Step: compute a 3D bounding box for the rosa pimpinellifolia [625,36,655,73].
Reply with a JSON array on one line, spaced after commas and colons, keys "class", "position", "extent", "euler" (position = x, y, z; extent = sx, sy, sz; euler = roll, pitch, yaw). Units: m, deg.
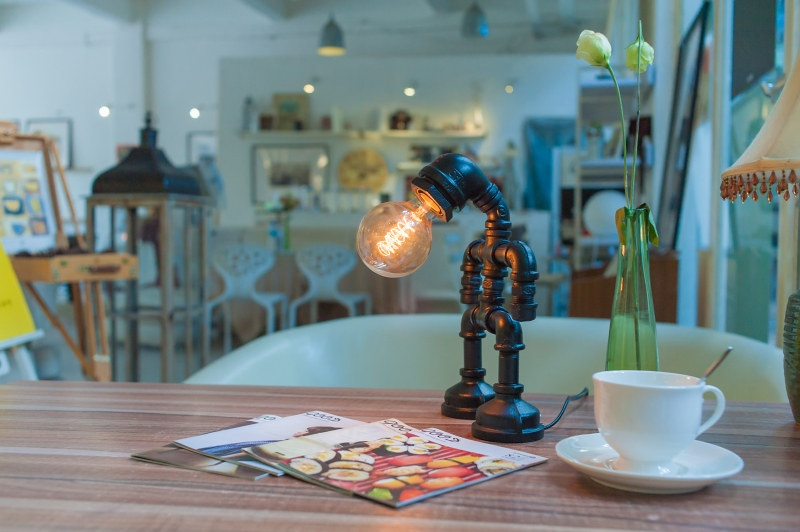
[{"class": "rosa pimpinellifolia", "position": [0.549, -0.492, 1.972], "extent": [0.061, 0.101, 0.068], "euler": [1, 7, -3]}]

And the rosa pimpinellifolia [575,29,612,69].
[{"class": "rosa pimpinellifolia", "position": [0.444, -0.501, 1.968], "extent": [0.073, 0.114, 0.179], "euler": [0, 4, 12]}]

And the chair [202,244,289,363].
[{"class": "chair", "position": [-0.611, 0.159, 3.275], "extent": [0.328, 0.490, 0.357], "euler": [-2, 9, -4]}]

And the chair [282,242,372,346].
[{"class": "chair", "position": [-0.420, 0.089, 4.948], "extent": [0.430, 0.616, 0.451], "euler": [0, 2, 8]}]

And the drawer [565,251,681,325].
[{"class": "drawer", "position": [1.016, 0.068, 4.173], "extent": [0.246, 0.427, 0.460], "euler": [-2, -10, 34]}]

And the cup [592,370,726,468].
[{"class": "cup", "position": [0.501, 0.284, 1.671], "extent": [0.231, 0.162, 0.183], "euler": [1, 0, 2]}]
